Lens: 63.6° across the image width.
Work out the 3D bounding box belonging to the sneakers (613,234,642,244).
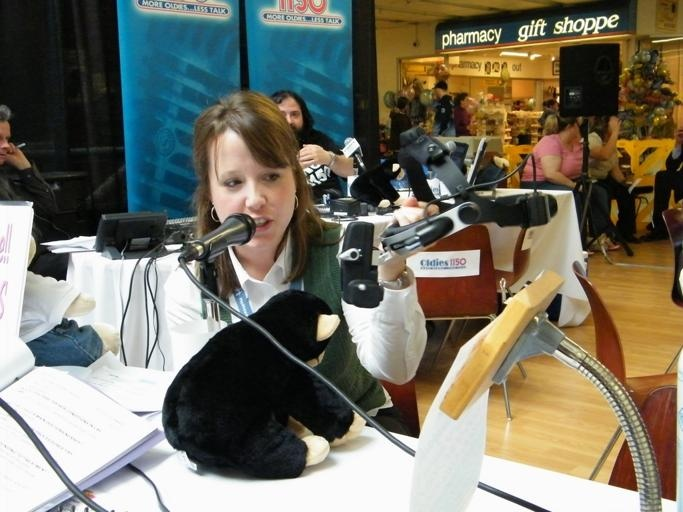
[{"bbox_3d":[3.211,-0.191,6.205,0.351,0.139,0.118,-1,7,7],"label":"sneakers"}]

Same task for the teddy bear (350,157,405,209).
[{"bbox_3d":[0.229,-0.445,3.500,0.328,0.330,0.275,0,-1,2],"label":"teddy bear"}]

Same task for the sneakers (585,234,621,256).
[{"bbox_3d":[2.806,-0.107,5.885,0.485,0.202,0.164,-6,13,-23],"label":"sneakers"}]

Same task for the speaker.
[{"bbox_3d":[2.369,-1.671,5.255,0.427,0.646,0.445,-2,19,3],"label":"speaker"}]

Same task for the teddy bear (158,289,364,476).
[{"bbox_3d":[-0.146,0.214,0.997,0.345,0.283,0.252,-12,18,-38],"label":"teddy bear"}]

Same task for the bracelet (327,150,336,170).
[{"bbox_3d":[-0.068,-0.698,3.988,0.071,0.109,0.106,0,0,-4],"label":"bracelet"}]

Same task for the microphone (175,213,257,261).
[{"bbox_3d":[-0.218,-0.047,0.975,0.055,0.053,0.174,21,29,21],"label":"microphone"}]
